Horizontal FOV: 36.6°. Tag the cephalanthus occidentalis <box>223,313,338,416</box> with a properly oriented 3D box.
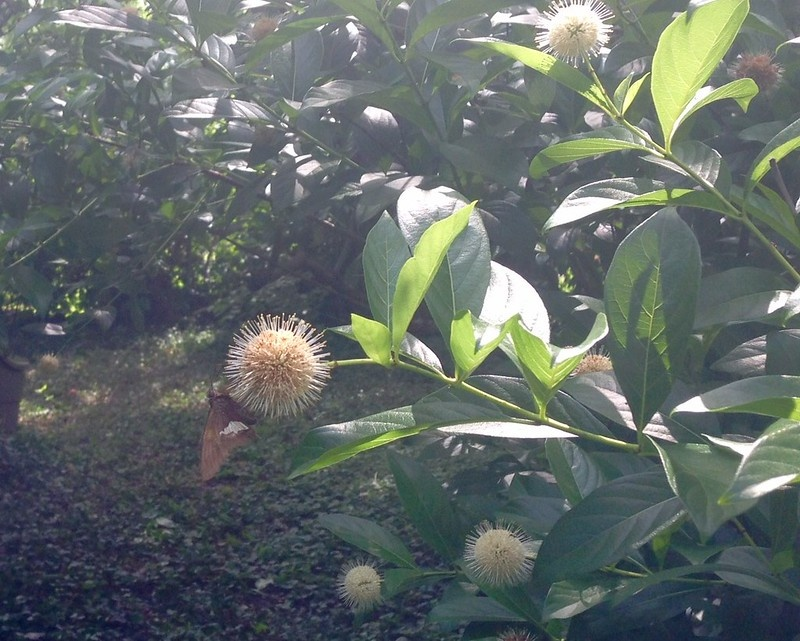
[{"bbox_3d":[-0.303,0.105,3.010,0.257,0.253,0.216,8,16,-2],"label":"cephalanthus occidentalis"}]
